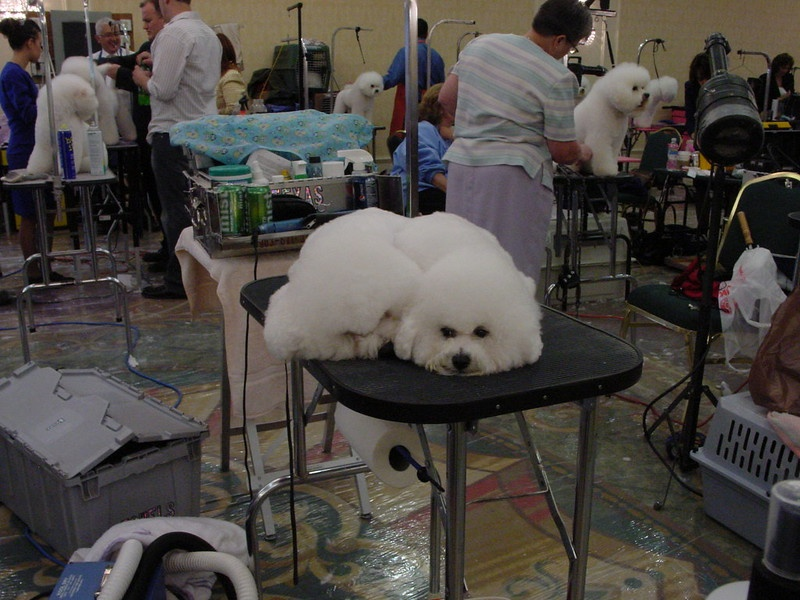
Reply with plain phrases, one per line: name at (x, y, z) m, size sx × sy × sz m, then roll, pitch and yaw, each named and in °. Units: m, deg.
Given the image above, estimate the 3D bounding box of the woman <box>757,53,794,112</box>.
woman at (4.145, -2.416, 7.692) m, size 0.366 × 0.648 × 2.249 m, roll 6°, pitch 15°, yaw 26°

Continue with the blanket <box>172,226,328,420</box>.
blanket at (-0.639, 0.122, 2.883) m, size 0.868 × 0.440 × 0.716 m, roll -5°, pitch 35°, yaw -21°

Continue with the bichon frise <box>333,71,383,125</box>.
bichon frise at (-0.474, -2.240, 7.835) m, size 0.624 × 0.595 × 0.249 m, roll 18°, pitch 20°, yaw 38°

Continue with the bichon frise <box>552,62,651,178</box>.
bichon frise at (1.209, -1.082, 4.348) m, size 0.713 × 0.546 × 0.395 m, roll 0°, pitch 11°, yaw 39°

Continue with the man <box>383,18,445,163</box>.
man at (0.073, -1.989, 6.878) m, size 0.434 × 1.237 × 0.452 m, roll 15°, pitch 11°, yaw -2°

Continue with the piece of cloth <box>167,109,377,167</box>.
piece of cloth at (-0.500, -0.682, 2.901) m, size 0.571 × 0.120 × 0.392 m, roll -11°, pitch 24°, yaw -26°

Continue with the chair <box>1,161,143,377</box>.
chair at (-2.107, -0.286, 4.431) m, size 0.701 × 1.028 × 1.889 m, roll -6°, pitch 15°, yaw -21°

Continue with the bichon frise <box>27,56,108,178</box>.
bichon frise at (-2.116, -1.165, 4.355) m, size 0.394 × 0.737 × 0.830 m, roll -3°, pitch 14°, yaw -10°

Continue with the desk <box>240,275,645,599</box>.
desk at (0.148, 0.223, 1.862) m, size 0.676 × 0.618 × 1.206 m, roll -7°, pitch 14°, yaw -26°

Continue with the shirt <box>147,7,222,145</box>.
shirt at (-1.483, -1.503, 4.740) m, size 0.494 × 0.827 × 0.713 m, roll 5°, pitch 26°, yaw -1°

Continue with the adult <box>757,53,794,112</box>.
adult at (4.156, -2.421, 7.714) m, size 0.366 × 0.648 × 2.199 m, roll 6°, pitch 15°, yaw 26°

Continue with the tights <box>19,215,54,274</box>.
tights at (-2.607, -0.468, 5.115) m, size 0.237 × 0.315 × 0.197 m, roll -12°, pitch 16°, yaw -35°
